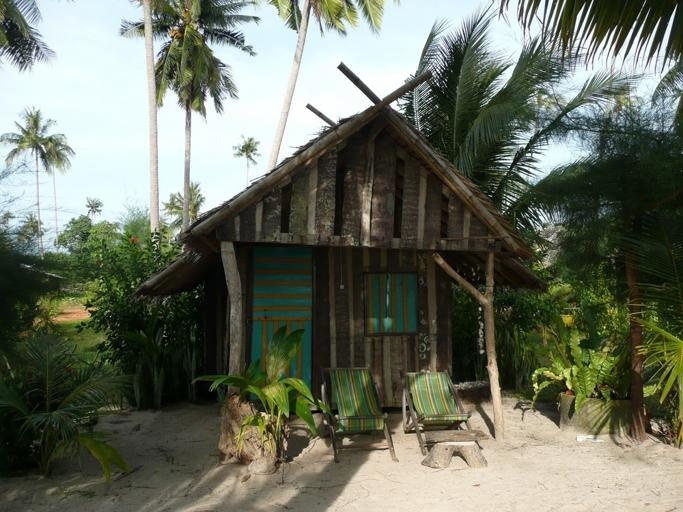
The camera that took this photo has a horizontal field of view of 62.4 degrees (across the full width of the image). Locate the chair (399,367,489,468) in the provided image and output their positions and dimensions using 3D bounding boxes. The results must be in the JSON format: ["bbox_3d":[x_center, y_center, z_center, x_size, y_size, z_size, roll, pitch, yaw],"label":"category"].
[{"bbox_3d":[1.641,2.609,9.211,0.884,1.211,1.991,1,-3,-3],"label":"chair"}]

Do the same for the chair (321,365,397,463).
[{"bbox_3d":[0.240,2.470,9.164,0.888,1.301,1.832,1,-6,-8],"label":"chair"}]
